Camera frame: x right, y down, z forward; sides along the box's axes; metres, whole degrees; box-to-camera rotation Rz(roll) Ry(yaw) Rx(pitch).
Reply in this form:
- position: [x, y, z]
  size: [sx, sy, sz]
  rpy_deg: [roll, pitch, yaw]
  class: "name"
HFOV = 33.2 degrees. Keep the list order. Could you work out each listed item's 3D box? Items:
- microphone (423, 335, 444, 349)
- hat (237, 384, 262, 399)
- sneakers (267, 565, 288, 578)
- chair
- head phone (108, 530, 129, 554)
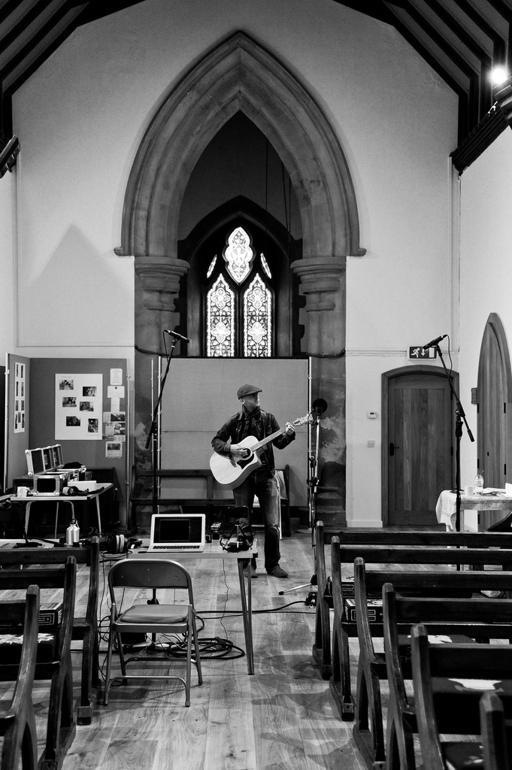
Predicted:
- position: [1.975, -0.476, 9.586]
  size: [0.270, 0.072, 0.094]
  rpy_deg: [-30, -40, -9]
  class: "microphone"
- position: [-0.054, 0.096, 7.117]
  size: [0.160, 0.126, 0.134]
  rpy_deg: [-10, -2, 22]
  class: "hat"
- position: [0.184, 1.582, 7.228]
  size: [0.072, 0.094, 0.199]
  rpy_deg: [2, -1, -8]
  class: "sneakers"
- position: [-0.524, 1.209, 4.376]
  size: [0.342, 0.783, 0.473]
  rpy_deg: [1, 3, 0]
  class: "chair"
- position: [-0.763, 0.904, 4.790]
  size: [0.114, 0.159, 0.304]
  rpy_deg: [-1, 1, -9]
  class: "head phone"
